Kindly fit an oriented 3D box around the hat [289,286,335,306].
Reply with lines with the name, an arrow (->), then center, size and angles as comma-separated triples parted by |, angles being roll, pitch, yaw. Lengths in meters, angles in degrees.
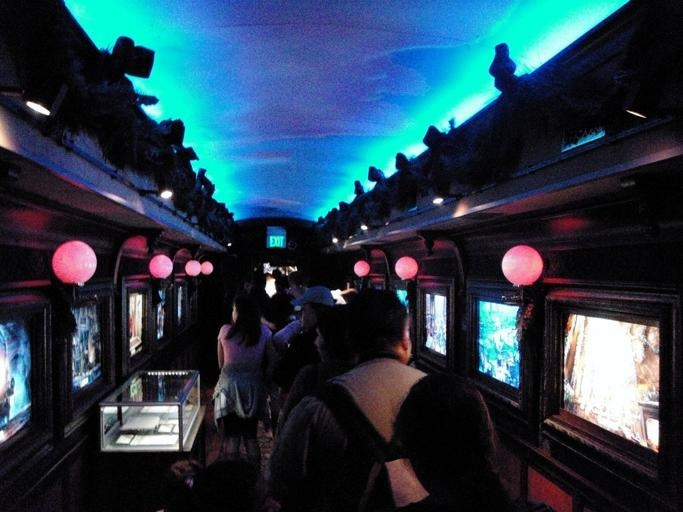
hat -> -0.283, 0.390, 4.447 | 0.323, 0.139, 0.221 | -1, -4, 14
